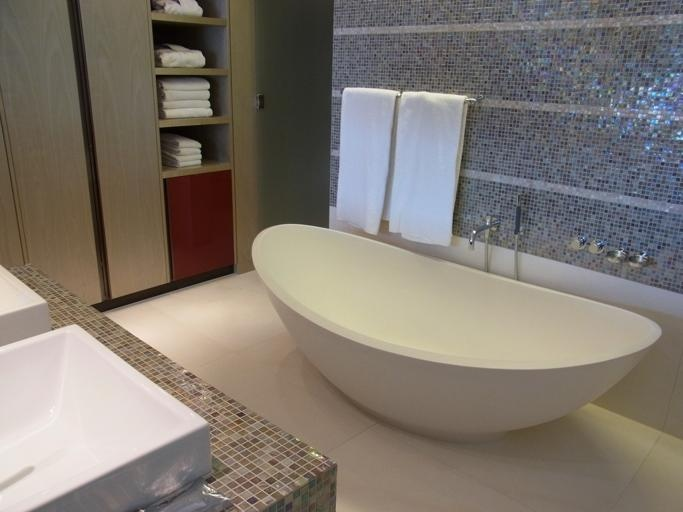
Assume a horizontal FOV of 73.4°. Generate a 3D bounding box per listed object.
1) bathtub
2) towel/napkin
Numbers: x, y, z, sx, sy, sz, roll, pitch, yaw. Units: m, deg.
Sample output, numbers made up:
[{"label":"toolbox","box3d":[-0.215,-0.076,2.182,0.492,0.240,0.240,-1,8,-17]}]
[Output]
[{"label":"bathtub","box3d":[0.388,0.410,2.420,2.001,0.599,1.054,23,29,38]},{"label":"towel/napkin","box3d":[0.399,-0.555,2.825,0.784,0.803,0.134,26,32,38]}]
